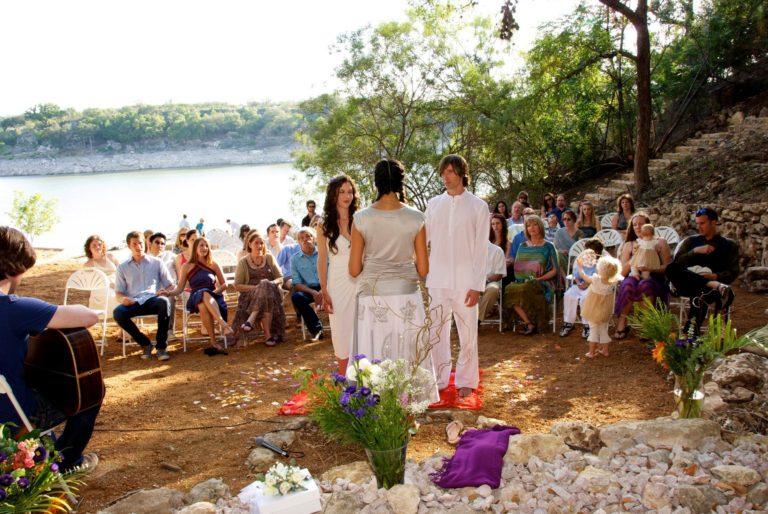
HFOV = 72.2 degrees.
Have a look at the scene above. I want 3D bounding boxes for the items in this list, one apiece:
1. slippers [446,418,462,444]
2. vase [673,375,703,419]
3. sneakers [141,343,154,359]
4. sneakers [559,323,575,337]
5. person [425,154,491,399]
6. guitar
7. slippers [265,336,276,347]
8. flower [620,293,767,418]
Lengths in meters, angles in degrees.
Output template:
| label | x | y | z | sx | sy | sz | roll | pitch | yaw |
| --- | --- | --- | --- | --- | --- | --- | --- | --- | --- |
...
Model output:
| label | x | y | z | sx | sy | sz | roll | pitch | yaw |
| --- | --- | --- | --- | --- | --- | --- | --- | --- | --- |
| slippers | 0.674 | 1.655 | 4.992 | 0.127 | 0.194 | 0.060 | -12 | -42 | 31 |
| vase | 2.856 | 1.327 | 4.941 | 0.218 | 0.408 | 0.260 | -1 | 6 | 25 |
| sneakers | -3.487 | 1.410 | 7.837 | 0.113 | 0.313 | 0.133 | 1 | 5 | 35 |
| sneakers | 2.767 | 1.107 | 7.943 | 0.121 | 0.142 | 0.335 | -2 | 8 | 40 |
| person | 0.742 | 0.191 | 5.698 | 0.737 | 2.474 | 0.733 | 4 | 14 | 27 |
| guitar | -2.823 | 0.987 | 4.684 | 0.814 | 0.773 | 0.297 | 1 | 7 | 32 |
| slippers | -1.740 | 1.325 | 8.187 | 0.153 | 0.085 | 0.359 | -2 | -1 | -26 |
| flower | 2.936 | 1.069 | 4.961 | 1.125 | 0.847 | 0.998 | -1 | 0 | 39 |
